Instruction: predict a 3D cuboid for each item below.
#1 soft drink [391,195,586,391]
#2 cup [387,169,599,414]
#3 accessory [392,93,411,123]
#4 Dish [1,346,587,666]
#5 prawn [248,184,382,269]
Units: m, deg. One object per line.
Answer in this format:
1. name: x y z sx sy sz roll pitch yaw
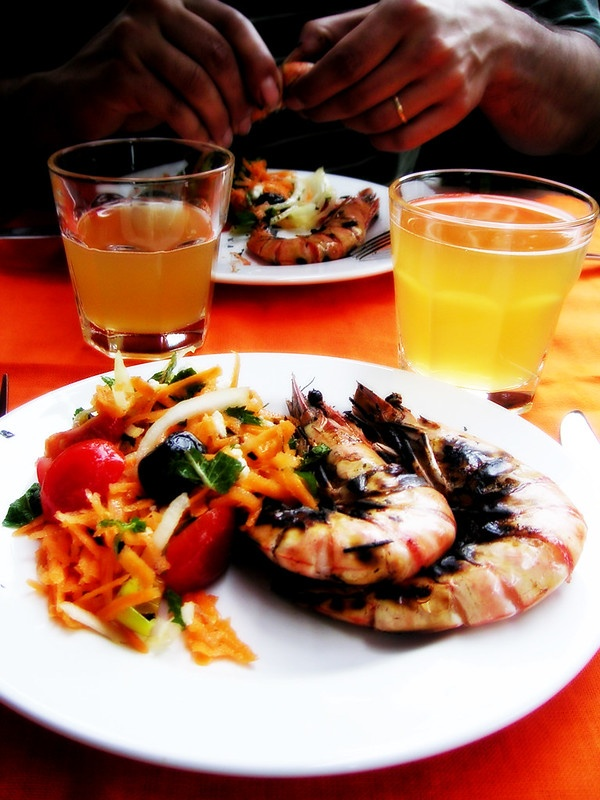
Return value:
1. soft drink: 0.247 -0.158 1.059 0.341 0.277 0.344 10 18 8
2. cup: 0.185 -0.160 1.085 0.395 0.370 0.352 0 33 1
3. accessory: 0.219 -0.643 1.497 0.031 0.065 0.080 14 41 13
4. Dish: -0.019 0.101 0.695 0.425 0.127 0.299 2 20 7
5. prawn: 0.039 -0.365 1.465 0.311 0.077 0.231 -29 36 -22
